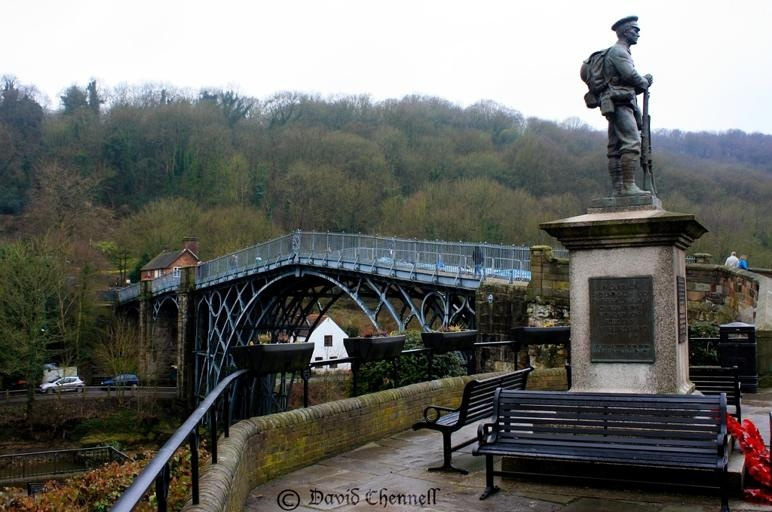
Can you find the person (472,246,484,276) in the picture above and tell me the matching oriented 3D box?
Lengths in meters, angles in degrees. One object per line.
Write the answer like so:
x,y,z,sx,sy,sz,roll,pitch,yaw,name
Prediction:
4.338,0.224,46.453,0.677,1.195,0.573,-1,0,28,person
